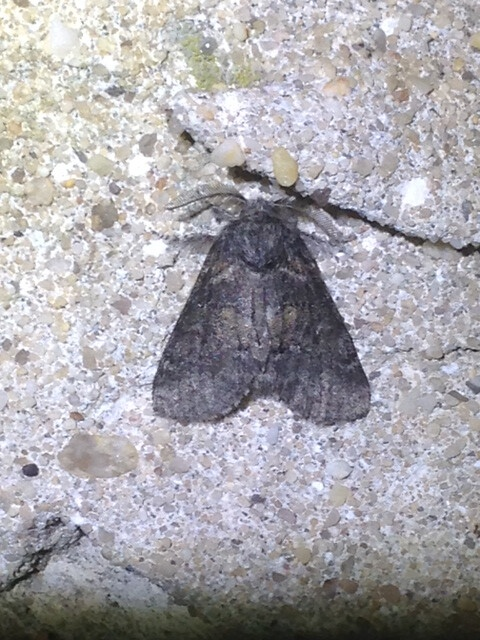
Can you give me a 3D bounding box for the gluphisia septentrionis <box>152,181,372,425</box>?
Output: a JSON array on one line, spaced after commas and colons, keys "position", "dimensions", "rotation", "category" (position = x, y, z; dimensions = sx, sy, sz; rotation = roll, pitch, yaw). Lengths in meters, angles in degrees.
[{"position": [0.027, -0.013, 1.107], "dimensions": [0.431, 0.115, 0.322], "rotation": [-1, 98, 1], "category": "gluphisia septentrionis"}]
